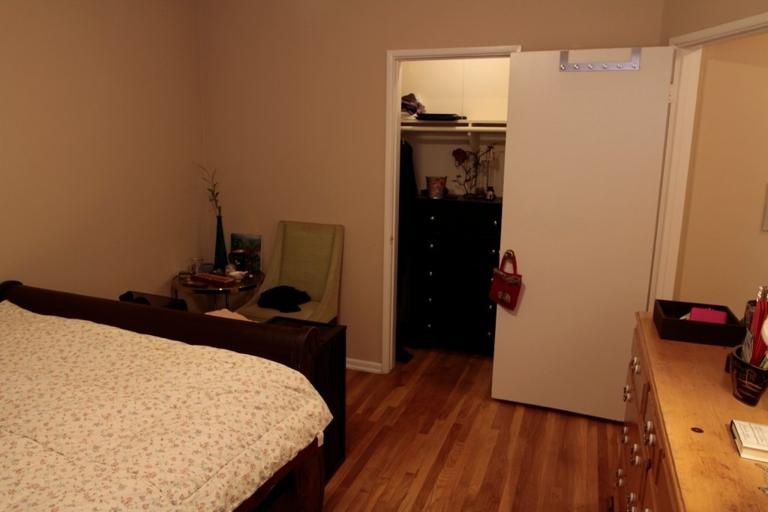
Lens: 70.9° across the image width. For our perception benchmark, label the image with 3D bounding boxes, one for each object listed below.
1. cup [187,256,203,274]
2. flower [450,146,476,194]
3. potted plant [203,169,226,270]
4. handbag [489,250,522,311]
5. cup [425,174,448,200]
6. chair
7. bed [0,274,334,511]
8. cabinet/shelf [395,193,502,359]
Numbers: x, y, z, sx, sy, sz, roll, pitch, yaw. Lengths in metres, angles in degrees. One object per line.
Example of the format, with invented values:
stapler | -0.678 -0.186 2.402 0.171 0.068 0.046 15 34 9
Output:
cup | -1.622 0.080 4.628 0.124 0.150 0.116 -1 -6 0
flower | 0.775 -0.817 5.219 0.260 0.426 0.154 5 12 7
potted plant | -1.478 -0.320 4.758 0.188 0.865 0.340 -4 14 -27
handbag | 0.929 0.189 4.053 0.235 0.474 0.070 10 14 29
cup | 0.471 -0.620 4.901 0.196 0.213 0.195 -1 8 0
chair | -0.758 0.320 4.486 0.909 1.040 0.908 -5 19 -20
bed | -1.245 0.762 3.379 2.153 1.022 1.139 11 15 30
cabinet/shelf | 0.658 -0.103 5.285 0.691 1.525 1.024 3 33 8
